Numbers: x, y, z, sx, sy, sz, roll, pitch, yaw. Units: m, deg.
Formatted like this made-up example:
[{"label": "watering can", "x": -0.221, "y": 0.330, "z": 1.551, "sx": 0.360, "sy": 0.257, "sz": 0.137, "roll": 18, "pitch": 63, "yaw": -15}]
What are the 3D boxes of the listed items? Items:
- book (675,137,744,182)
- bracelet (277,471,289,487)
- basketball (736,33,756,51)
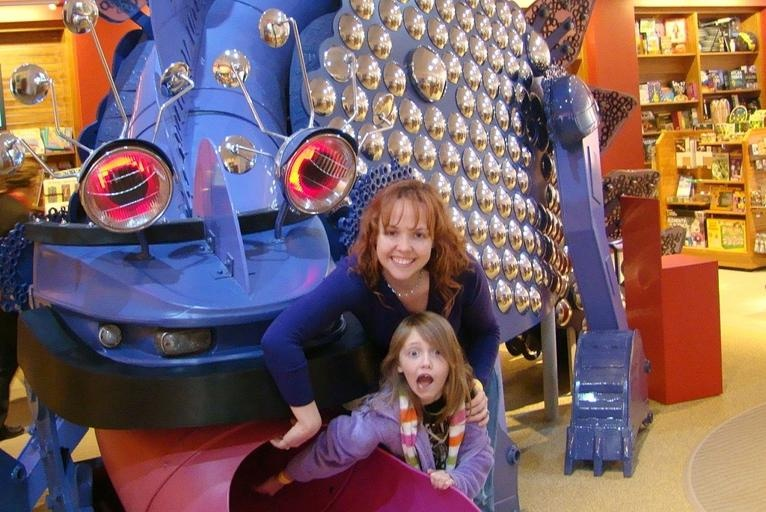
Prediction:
[{"label": "book", "x": 3.324, "y": -0.999, "z": 5.817, "sx": 0.157, "sy": 0.459, "sz": 0.691, "roll": -9, "pitch": 10, "yaw": -27}, {"label": "bracelet", "x": -0.246, "y": 0.553, "z": 1.408, "sx": 0.024, "sy": 0.032, "sz": 0.032, "roll": -37, "pitch": -40, "yaw": 24}, {"label": "basketball", "x": 4.491, "y": -2.642, "z": 7.023, "sx": 0.189, "sy": 0.193, "sz": 0.152, "roll": 5, "pitch": 30, "yaw": -27}]
